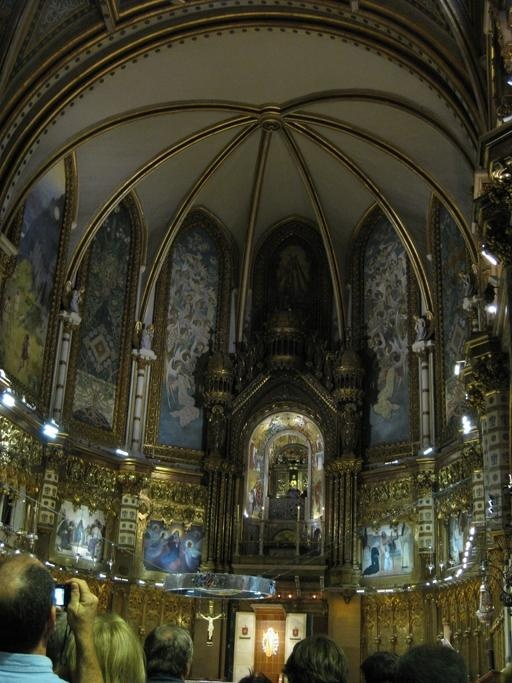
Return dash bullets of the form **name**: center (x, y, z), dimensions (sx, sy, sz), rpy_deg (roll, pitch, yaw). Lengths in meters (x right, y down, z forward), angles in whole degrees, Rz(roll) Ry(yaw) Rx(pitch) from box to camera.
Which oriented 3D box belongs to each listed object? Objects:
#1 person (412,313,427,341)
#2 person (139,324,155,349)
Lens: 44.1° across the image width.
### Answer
- **person**: center (4.548, -0.358, 17.568), dimensions (0.243, 0.943, 0.563), rpy_deg (6, -21, -6)
- **person**: center (-3.208, -0.126, 18.842), dimensions (0.260, 0.922, 0.495), rpy_deg (-3, -22, 18)
